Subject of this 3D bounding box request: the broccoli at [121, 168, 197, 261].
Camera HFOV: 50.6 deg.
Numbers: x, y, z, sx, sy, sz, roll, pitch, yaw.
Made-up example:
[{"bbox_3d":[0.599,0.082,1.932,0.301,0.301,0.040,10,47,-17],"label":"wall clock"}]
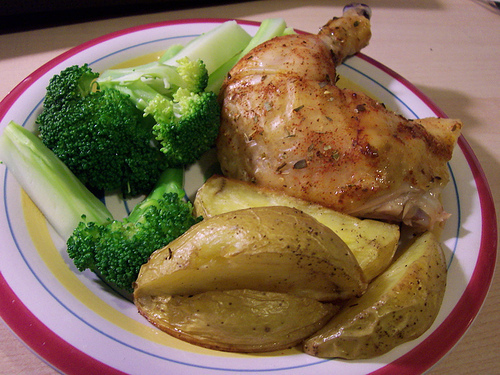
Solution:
[{"bbox_3d":[-0.436,0.115,2.401,0.116,0.119,0.449,36,70,30],"label":"broccoli"}]
